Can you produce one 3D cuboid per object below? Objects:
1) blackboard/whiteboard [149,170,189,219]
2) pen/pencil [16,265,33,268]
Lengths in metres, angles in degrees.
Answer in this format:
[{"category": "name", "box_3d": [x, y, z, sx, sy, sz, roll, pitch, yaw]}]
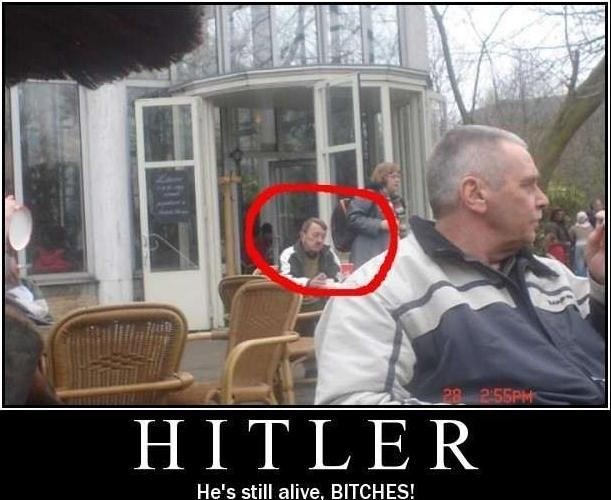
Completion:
[{"category": "blackboard/whiteboard", "box_3d": [-0.686, -0.272, 3.988, 0.241, 0.348, 0.036, 3, -31, -20]}, {"category": "pen/pencil", "box_3d": [-1.315, 0.077, 3.750, 0.068, 0.022, 0.019, 2, 14, -8]}]
